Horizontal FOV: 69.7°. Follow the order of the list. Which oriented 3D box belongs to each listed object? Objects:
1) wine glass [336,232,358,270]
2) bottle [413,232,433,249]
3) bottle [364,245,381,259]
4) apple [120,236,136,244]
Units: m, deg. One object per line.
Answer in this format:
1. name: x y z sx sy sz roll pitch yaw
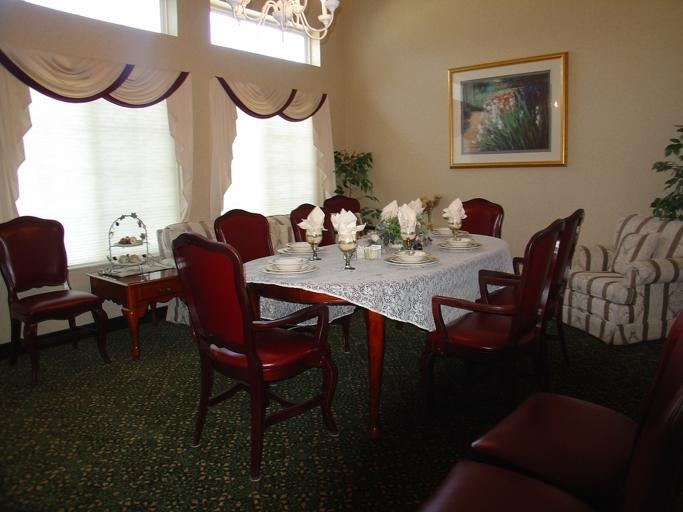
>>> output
1. wine glass: 0.043 -0.048 3.236 0.108 0.263 0.295 -2 14 1
2. bottle: 0.652 -0.114 3.915 0.134 0.070 0.177 -14 19 -3
3. bottle: 0.222 -0.027 3.534 0.094 0.076 0.095 -1 2 0
4. apple: -1.987 -0.148 4.563 0.093 0.038 0.083 6 10 9
